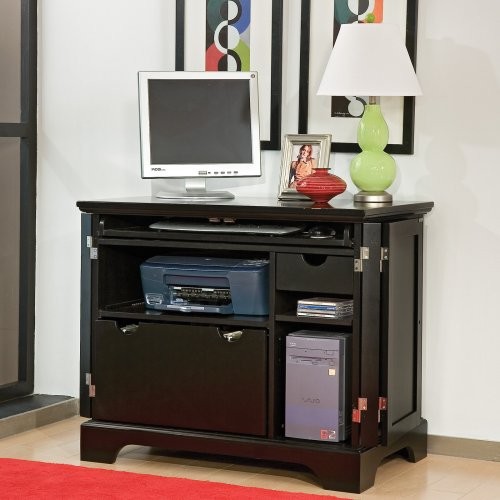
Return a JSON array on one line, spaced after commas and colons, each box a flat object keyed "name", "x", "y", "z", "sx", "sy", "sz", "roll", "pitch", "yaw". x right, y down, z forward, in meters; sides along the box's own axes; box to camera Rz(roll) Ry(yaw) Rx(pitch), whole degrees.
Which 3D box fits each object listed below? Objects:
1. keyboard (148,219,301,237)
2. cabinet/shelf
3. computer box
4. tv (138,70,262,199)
[{"name": "keyboard", "x": -0.103, "y": -0.078, "z": 2.123, "sx": 0.580, "sy": 0.055, "sz": 0.171, "roll": 0, "pitch": 4, "yaw": 18}, {"name": "cabinet/shelf", "x": 0.017, "y": 0.326, "z": 2.040, "sx": 0.918, "sy": 0.779, "sz": 0.374, "roll": 0, "pitch": 0, "yaw": 23}, {"name": "computer box", "x": 0.210, "y": 0.516, "z": 2.088, "sx": 0.203, "sy": 0.416, "sz": 0.250, "roll": 2, "pitch": -6, "yaw": 7}, {"name": "tv", "x": -0.194, "y": -0.482, "z": 2.389, "sx": 0.510, "sy": 0.558, "sz": 0.179, "roll": 1, "pitch": 5, "yaw": 7}]
